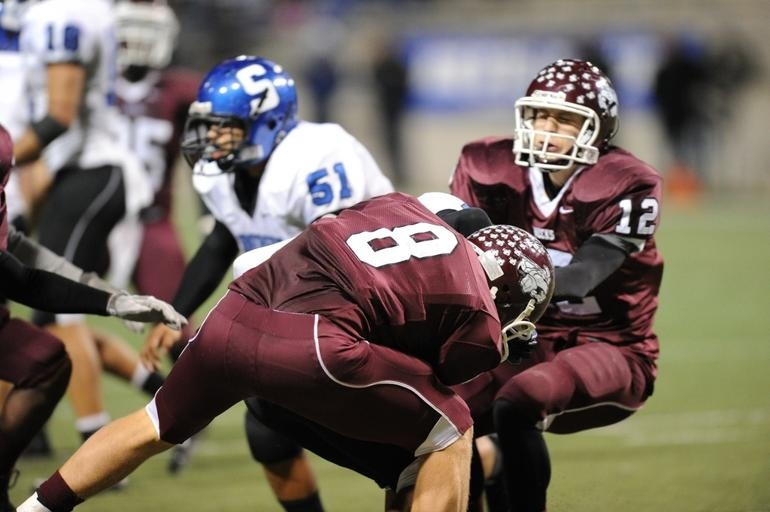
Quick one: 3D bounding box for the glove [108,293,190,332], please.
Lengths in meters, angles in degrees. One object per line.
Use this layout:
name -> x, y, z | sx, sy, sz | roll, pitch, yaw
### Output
glove -> -0.875, 0.201, 3.423 | 0.202, 0.059, 0.145 | 23, -7, -14

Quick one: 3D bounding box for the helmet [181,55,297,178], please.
helmet -> -0.604, -0.601, 3.971 | 0.538, 0.452, 0.400 | -13, 34, -24
